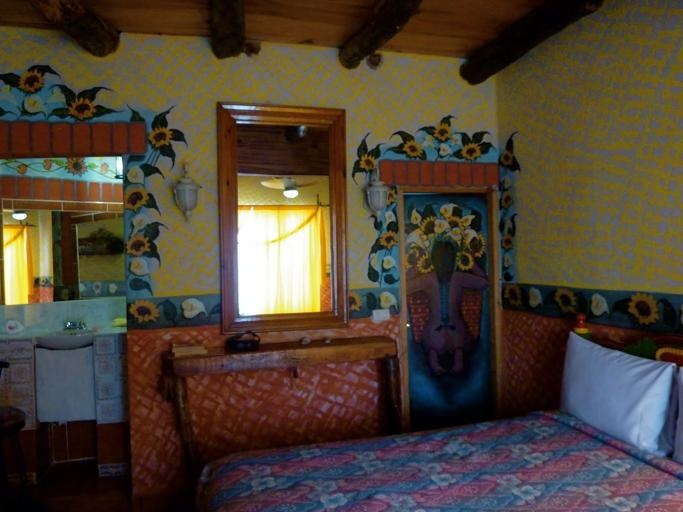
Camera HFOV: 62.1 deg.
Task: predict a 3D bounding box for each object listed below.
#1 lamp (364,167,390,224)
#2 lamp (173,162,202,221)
[{"bbox_3d":[0.292,-0.526,4.769,0.208,0.429,0.197,-2,12,6],"label":"lamp"},{"bbox_3d":[-1.234,-0.507,4.475,0.222,0.432,0.150,-3,11,-1],"label":"lamp"}]
